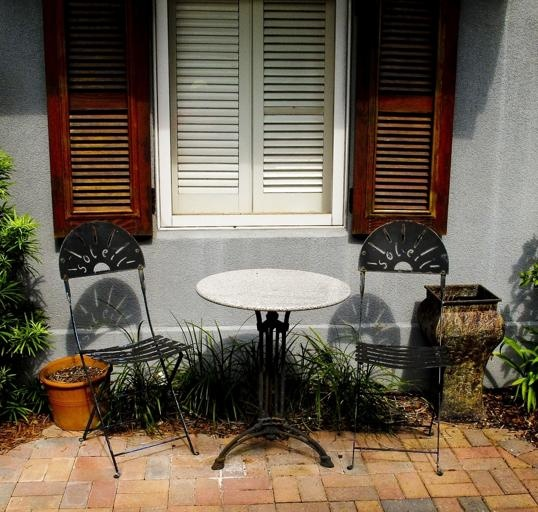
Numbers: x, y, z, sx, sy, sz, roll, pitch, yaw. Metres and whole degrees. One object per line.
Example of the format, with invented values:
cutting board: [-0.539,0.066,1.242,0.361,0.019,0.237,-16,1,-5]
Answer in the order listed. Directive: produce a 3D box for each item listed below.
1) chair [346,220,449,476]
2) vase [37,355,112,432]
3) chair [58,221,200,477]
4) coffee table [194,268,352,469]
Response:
chair: [0.817,0.452,3.426,0.583,1.299,1.030,3,13,10]
vase: [-1.202,0.808,3.590,0.534,0.344,0.496,0,2,-3]
chair: [-0.857,0.447,3.361,0.698,1.272,1.068,-5,14,-21]
coffee table: [0.016,0.636,3.230,0.838,0.972,0.788,-1,13,-7]
